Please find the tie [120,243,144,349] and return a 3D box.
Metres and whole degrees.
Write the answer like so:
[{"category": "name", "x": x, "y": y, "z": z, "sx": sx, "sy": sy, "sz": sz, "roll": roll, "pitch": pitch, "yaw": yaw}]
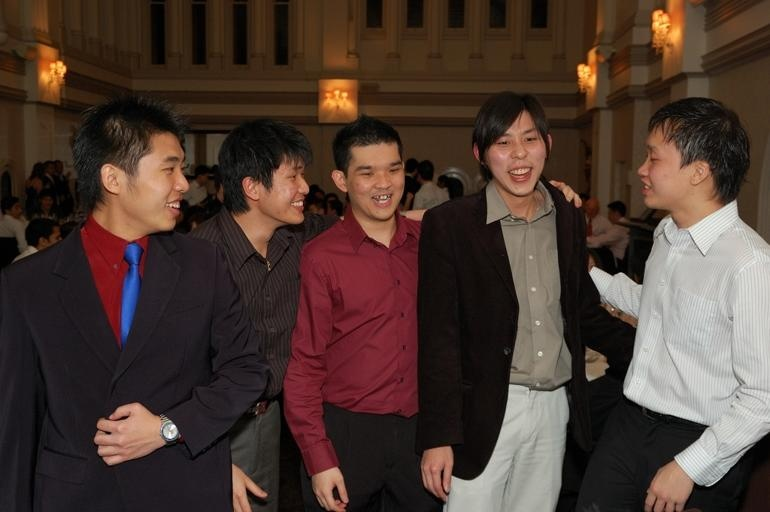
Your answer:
[{"category": "tie", "x": -0.846, "y": 0.130, "z": 1.990, "sx": 0.060, "sy": 0.352, "sz": 0.059, "roll": 14, "pitch": -24, "yaw": -24}]
